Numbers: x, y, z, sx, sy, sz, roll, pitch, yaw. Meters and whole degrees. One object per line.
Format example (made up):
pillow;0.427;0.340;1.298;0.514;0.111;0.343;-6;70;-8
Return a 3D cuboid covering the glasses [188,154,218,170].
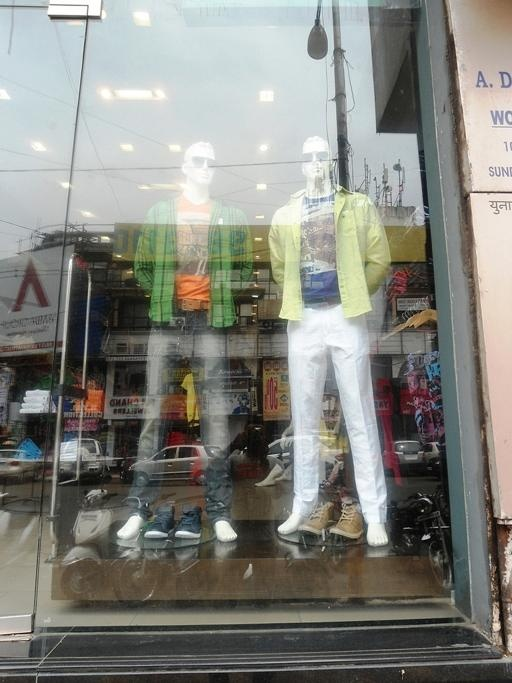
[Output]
glasses;-0.231;-0.769;2.378;0.075;0.044;0.072;-3;9;-5
